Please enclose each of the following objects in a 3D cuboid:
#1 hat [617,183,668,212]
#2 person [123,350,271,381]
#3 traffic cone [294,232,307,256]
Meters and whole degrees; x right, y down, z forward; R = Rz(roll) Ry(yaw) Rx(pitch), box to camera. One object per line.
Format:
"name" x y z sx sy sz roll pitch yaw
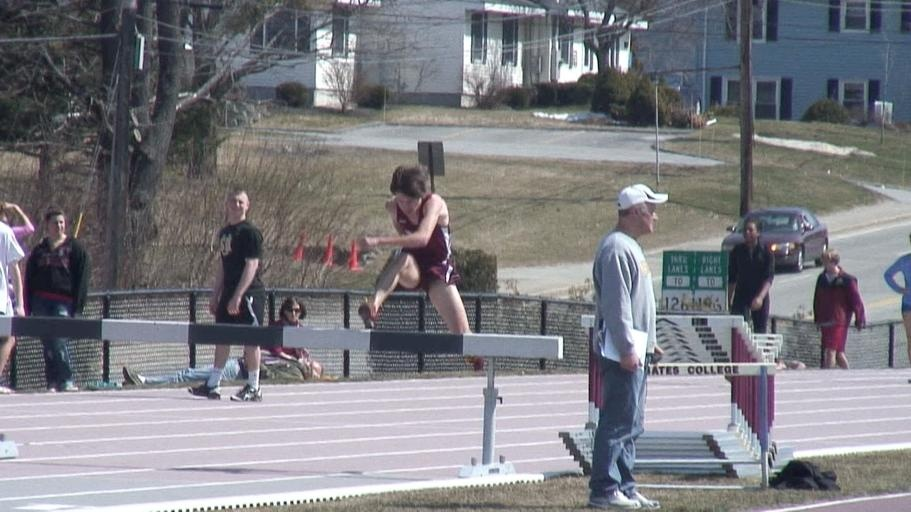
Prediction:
"hat" 5.620 -1.722 66.387 1.259 0.513 0.845 -8 8 -7
"person" -8.585 3.805 71.741 2.964 1.087 0.701 -2 -1 -29
"traffic cone" -5.698 -0.203 79.534 0.370 0.952 0.876 -2 6 -3
